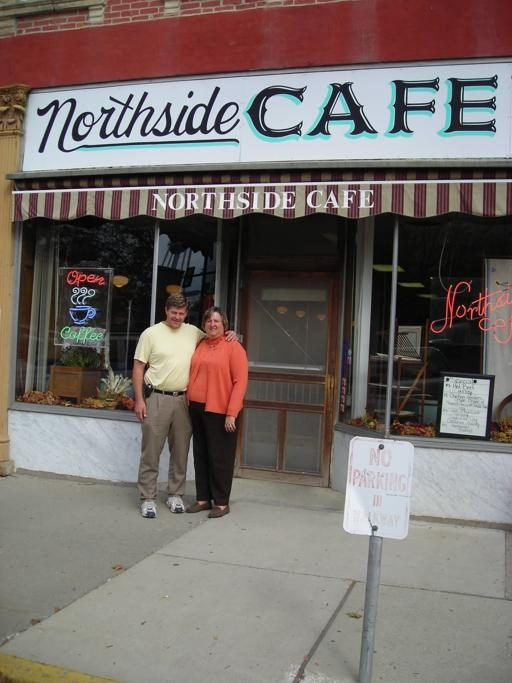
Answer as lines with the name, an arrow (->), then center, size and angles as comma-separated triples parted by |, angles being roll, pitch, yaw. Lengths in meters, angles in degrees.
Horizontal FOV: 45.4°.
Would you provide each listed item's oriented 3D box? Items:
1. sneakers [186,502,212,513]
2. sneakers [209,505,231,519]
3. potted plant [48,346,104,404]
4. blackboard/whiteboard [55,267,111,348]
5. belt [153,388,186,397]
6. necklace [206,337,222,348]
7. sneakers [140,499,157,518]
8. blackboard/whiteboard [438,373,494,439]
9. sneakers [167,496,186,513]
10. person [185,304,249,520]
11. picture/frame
sneakers -> -0.482, 1.406, 5.173 | 0.224, 0.090, 0.082 | 2, -1, -33
sneakers -> -0.312, 1.406, 5.052 | 0.068, 0.061, 0.170 | -3, -6, 30
potted plant -> -2.150, 0.368, 6.809 | 0.401, 0.617, 0.445 | 5, -8, -24
blackboard/whiteboard -> -1.853, -0.356, 6.645 | 0.818, 1.088, 0.123 | 4, 0, 21
belt -> -0.734, 0.431, 5.173 | 0.277, 0.044, 0.065 | 4, -2, -8
necklace -> -0.352, 0.009, 5.094 | 0.081, 0.039, 0.096 | -6, -16, -1
sneakers -> -0.893, 1.383, 5.067 | 0.071, 0.081, 0.180 | 2, 3, -7
blackboard/whiteboard -> 1.857, 0.588, 5.377 | 0.506, 0.661, 0.053 | 6, -17, 10
sneakers -> -0.680, 1.383, 5.223 | 0.080, 0.095, 0.209 | 2, -4, -18
person -> -0.340, 0.587, 5.102 | 0.539, 1.724, 0.349 | 2, -3, 39
picture/frame -> 1.854, 0.578, 5.380 | 0.535, 0.705, 0.057 | 7, -17, 10
